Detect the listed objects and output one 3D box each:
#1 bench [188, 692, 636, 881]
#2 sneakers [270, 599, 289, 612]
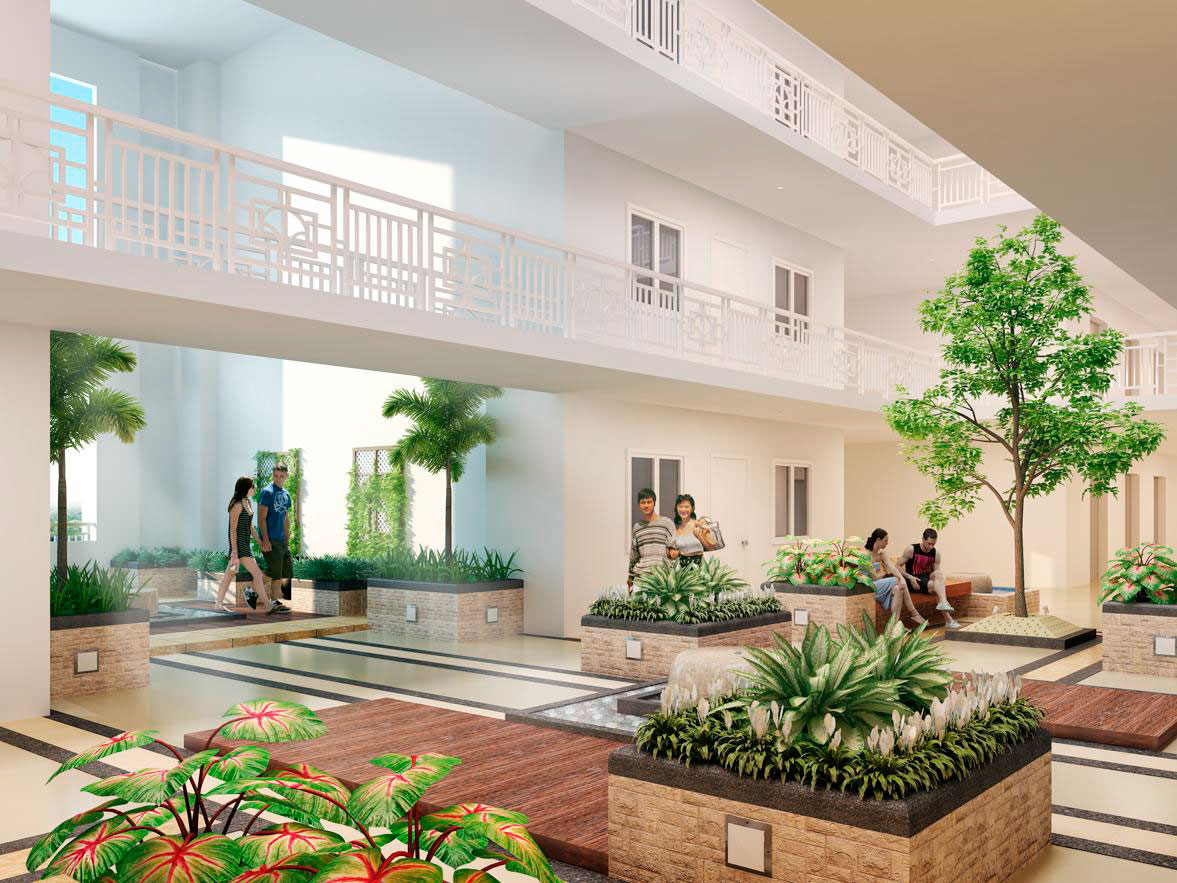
[{"bbox_3d":[-0.736,2.266,5.803,3.481,0.313,2.012,-8,-9,42],"label":"bench"},{"bbox_3d":[-5.286,2.846,14.315,0.141,0.188,0.465,1,-12,-33],"label":"sneakers"}]
